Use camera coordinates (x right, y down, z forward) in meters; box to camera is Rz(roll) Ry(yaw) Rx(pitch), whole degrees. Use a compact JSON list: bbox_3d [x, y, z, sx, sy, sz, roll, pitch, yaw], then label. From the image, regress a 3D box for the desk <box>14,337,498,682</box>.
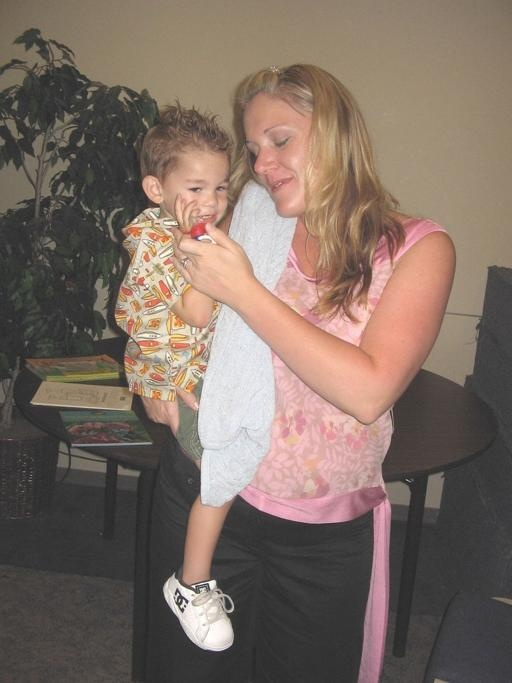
[{"bbox_3d":[-0.098,0.607,2.049,1.177,0.678,1.189,21,28,26],"label":"desk"}]
